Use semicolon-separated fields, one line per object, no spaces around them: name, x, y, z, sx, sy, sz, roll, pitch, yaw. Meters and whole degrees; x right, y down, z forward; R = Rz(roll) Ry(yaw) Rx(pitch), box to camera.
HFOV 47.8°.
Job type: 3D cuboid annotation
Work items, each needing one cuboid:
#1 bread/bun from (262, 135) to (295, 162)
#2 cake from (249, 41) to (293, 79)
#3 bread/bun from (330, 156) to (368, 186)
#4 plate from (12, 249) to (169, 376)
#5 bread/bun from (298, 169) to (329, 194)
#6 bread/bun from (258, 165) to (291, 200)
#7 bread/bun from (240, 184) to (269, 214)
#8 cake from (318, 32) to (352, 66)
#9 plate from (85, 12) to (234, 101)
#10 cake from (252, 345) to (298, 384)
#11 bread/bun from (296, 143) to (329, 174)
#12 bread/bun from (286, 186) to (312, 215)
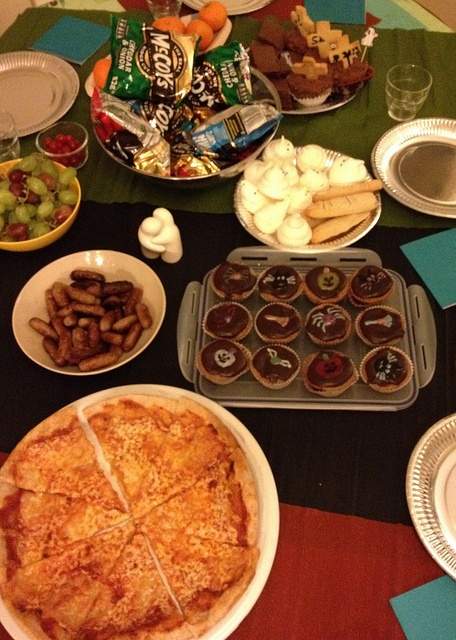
bread/bun;0.152;-0.509;1.552;0.085;0.083;0.083;0;65;-1
cake;0.135;-0.931;1.868;0.098;0.042;0.174;-24;64;-4
bread/bun;0.367;-0.456;1.557;0.098;0.033;0.091;7;91;11
plate;-0.413;-0.054;1.333;0.378;0.090;0.376;-1;62;-2
bread/bun;0.261;-0.419;1.558;0.078;0.058;0.076;-3;71;2
bread/bun;0.135;-0.395;1.493;0.084;0.074;0.085;-2;69;-2
bread/bun;0.081;-0.367;1.557;0.060;0.070;0.064;-45;38;14
cake;0.379;-0.950;1.805;0.105;0.101;0.028;-4;25;-2
plate;-0.244;-0.998;2.034;0.557;0.088;0.389;-24;70;3
cake;0.122;0.125;1.348;0.097;0.036;0.098;1;52;3
bread/bun;0.256;-0.498;1.581;0.094;0.067;0.093;-1;86;11
bread/bun;0.207;-0.351;1.512;0.070;0.074;0.072;6;80;-2
